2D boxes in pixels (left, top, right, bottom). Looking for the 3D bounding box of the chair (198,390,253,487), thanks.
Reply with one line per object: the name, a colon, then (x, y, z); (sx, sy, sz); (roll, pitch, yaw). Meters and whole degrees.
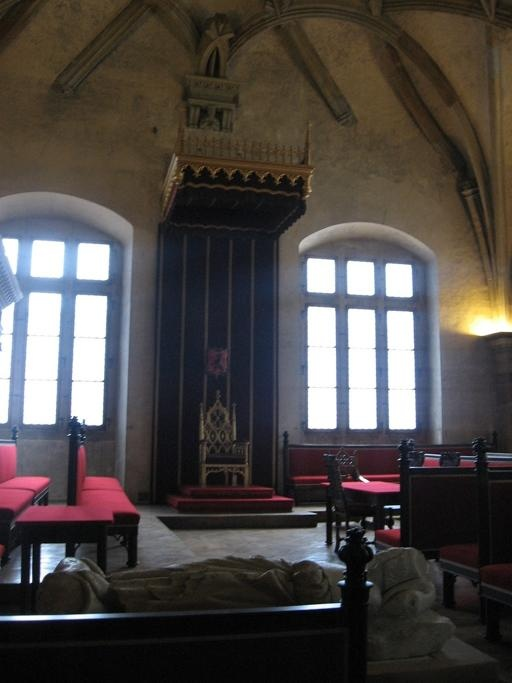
chair: (-0.491, 1.490, 10.061); (0.723, 1.163, 0.622); (3, -6, -15)
